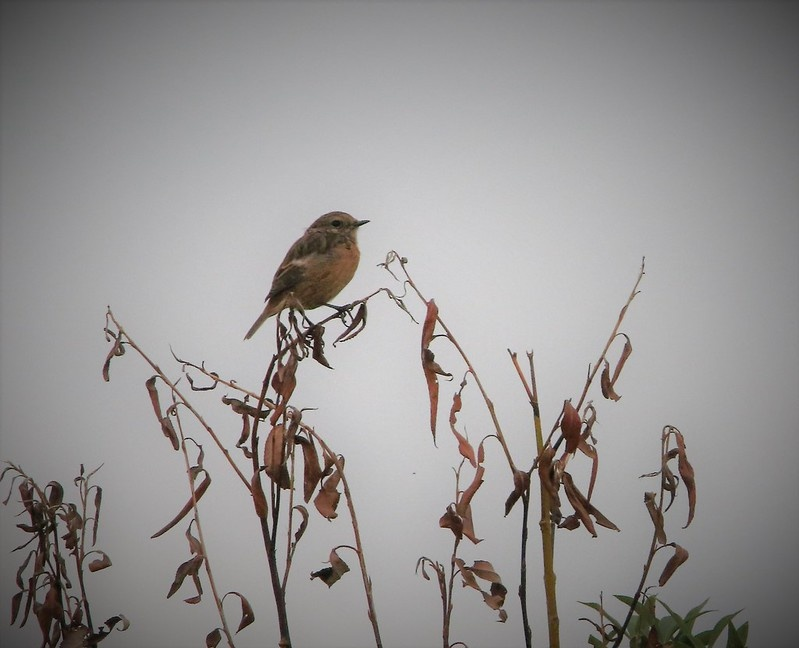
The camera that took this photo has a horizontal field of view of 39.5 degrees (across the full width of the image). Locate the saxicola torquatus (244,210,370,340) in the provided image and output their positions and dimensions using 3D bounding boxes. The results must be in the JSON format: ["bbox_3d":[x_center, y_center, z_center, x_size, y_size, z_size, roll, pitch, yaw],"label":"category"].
[{"bbox_3d":[-0.213,-0.131,3.138,0.368,0.303,0.232,-22,-10,3],"label":"saxicola torquatus"}]
